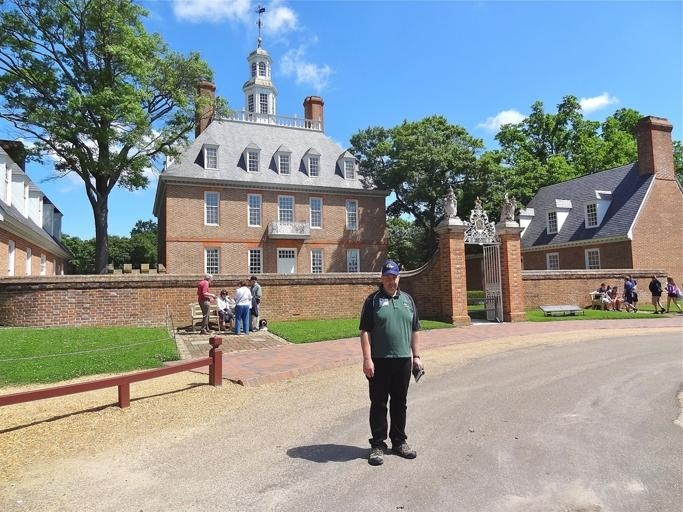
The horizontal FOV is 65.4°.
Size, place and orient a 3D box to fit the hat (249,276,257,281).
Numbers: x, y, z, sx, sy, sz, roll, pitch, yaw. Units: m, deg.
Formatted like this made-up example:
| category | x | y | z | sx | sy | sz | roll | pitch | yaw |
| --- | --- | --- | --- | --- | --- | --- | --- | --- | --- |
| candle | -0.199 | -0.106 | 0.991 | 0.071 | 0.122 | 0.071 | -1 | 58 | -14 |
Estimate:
| category | x | y | z | sx | sy | sz | roll | pitch | yaw |
| --- | --- | --- | --- | --- | --- | --- | --- | --- | --- |
| hat | -3.170 | 0.833 | 19.296 | 0.166 | 0.208 | 0.209 | 2 | -6 | -32 |

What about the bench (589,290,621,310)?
| category | x | y | z | sx | sy | sz | roll | pitch | yaw |
| --- | --- | --- | --- | --- | --- | --- | --- | --- | --- |
| bench | 12.567 | 2.215 | 25.527 | 1.001 | 1.463 | 1.046 | 4 | -8 | -30 |

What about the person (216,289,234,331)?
| category | x | y | z | sx | sy | sz | roll | pitch | yaw |
| --- | --- | --- | --- | --- | --- | --- | --- | --- | --- |
| person | -4.009 | 1.907 | 18.579 | 0.565 | 1.386 | 0.678 | -2 | -3 | 11 |

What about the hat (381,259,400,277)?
| category | x | y | z | sx | sy | sz | roll | pitch | yaw |
| --- | --- | --- | --- | --- | --- | --- | --- | --- | --- |
| hat | 0.753 | 0.146 | 8.114 | 0.328 | 0.311 | 0.517 | 0 | -10 | 1 |

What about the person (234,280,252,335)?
| category | x | y | z | sx | sy | sz | roll | pitch | yaw |
| --- | --- | --- | --- | --- | --- | --- | --- | --- | --- |
| person | -3.281 | 1.738 | 17.772 | 0.539 | 1.765 | 0.989 | -1 | -3 | -10 |

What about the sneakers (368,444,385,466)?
| category | x | y | z | sx | sy | sz | roll | pitch | yaw |
| --- | --- | --- | --- | --- | --- | --- | --- | --- | --- |
| sneakers | 0.486 | 2.867 | 7.610 | 0.228 | 0.209 | 0.262 | -2 | -4 | 2 |

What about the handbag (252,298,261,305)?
| category | x | y | z | sx | sy | sz | roll | pitch | yaw |
| --- | --- | --- | --- | --- | --- | --- | --- | --- | --- |
| handbag | -2.971 | 1.615 | 18.584 | 0.206 | 0.205 | 0.354 | 0 | -6 | 8 |

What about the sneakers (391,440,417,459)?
| category | x | y | z | sx | sy | sz | roll | pitch | yaw |
| --- | --- | --- | --- | --- | --- | --- | --- | --- | --- |
| sneakers | 0.901 | 2.855 | 7.795 | 0.162 | 0.170 | 0.355 | 7 | -14 | -39 |

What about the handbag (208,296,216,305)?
| category | x | y | z | sx | sy | sz | roll | pitch | yaw |
| --- | --- | --- | --- | --- | --- | --- | --- | --- | --- |
| handbag | -4.608 | 1.592 | 18.923 | 0.209 | 0.269 | 0.379 | -1 | -3 | -23 |

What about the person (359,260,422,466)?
| category | x | y | z | sx | sy | sz | roll | pitch | yaw |
| --- | --- | --- | --- | --- | --- | --- | --- | --- | --- |
| person | 0.719 | 1.531 | 7.824 | 0.902 | 2.893 | 0.499 | -1 | -3 | -5 |
